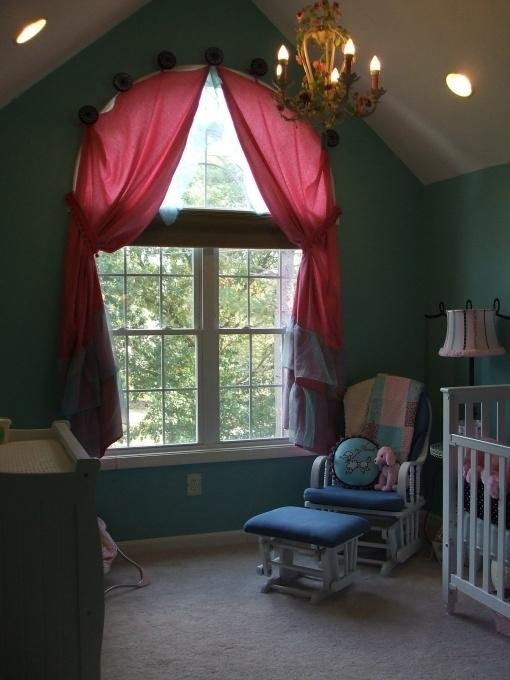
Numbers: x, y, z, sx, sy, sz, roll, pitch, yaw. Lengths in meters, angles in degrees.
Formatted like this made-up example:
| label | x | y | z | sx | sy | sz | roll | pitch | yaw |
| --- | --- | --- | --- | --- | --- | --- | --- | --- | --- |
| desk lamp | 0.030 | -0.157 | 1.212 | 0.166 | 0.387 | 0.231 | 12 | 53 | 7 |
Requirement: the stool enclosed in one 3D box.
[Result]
| label | x | y | z | sx | sy | sz | roll | pitch | yaw |
| --- | --- | --- | --- | --- | --- | --- | --- | --- | --- |
| stool | 0.245 | 0.997 | 2.905 | 0.485 | 0.338 | 0.323 | -4 | -2 | 41 |

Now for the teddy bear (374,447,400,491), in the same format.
| label | x | y | z | sx | sy | sz | roll | pitch | yaw |
| --- | --- | --- | --- | --- | --- | --- | --- | --- | --- |
| teddy bear | 0.732 | 0.694 | 3.331 | 0.174 | 0.232 | 0.146 | 1 | -11 | -35 |

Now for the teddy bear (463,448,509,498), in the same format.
| label | x | y | z | sx | sy | sz | roll | pitch | yaw |
| --- | --- | --- | --- | --- | --- | --- | --- | --- | --- |
| teddy bear | 0.987 | 0.574 | 2.624 | 0.071 | 0.209 | 0.211 | -2 | 12 | -43 |

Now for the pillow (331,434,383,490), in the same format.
| label | x | y | z | sx | sy | sz | roll | pitch | yaw |
| --- | --- | --- | --- | --- | --- | --- | --- | --- | --- |
| pillow | 0.551 | 0.679 | 3.385 | 0.246 | 0.189 | 0.140 | 0 | 0 | 9 |
